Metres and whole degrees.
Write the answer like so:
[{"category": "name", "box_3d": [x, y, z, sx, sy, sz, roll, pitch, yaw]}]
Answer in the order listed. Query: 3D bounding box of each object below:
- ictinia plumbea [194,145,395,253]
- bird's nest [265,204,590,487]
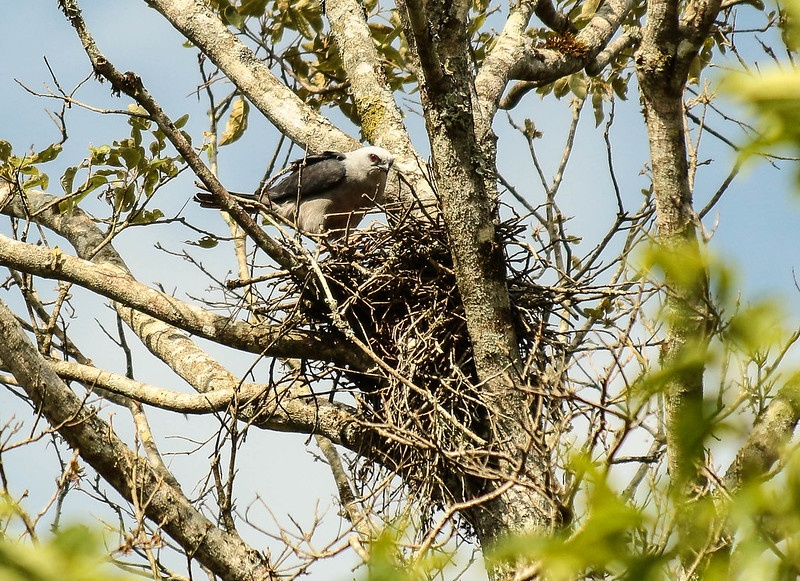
[{"category": "ictinia plumbea", "box_3d": [-0.766, -0.620, 10.426, 1.633, 0.709, 0.571, -2, -13, 33]}, {"category": "bird's nest", "box_3d": [0.153, 0.156, 8.432, 1.498, 0.874, 1.538, -28, -85, -25]}]
